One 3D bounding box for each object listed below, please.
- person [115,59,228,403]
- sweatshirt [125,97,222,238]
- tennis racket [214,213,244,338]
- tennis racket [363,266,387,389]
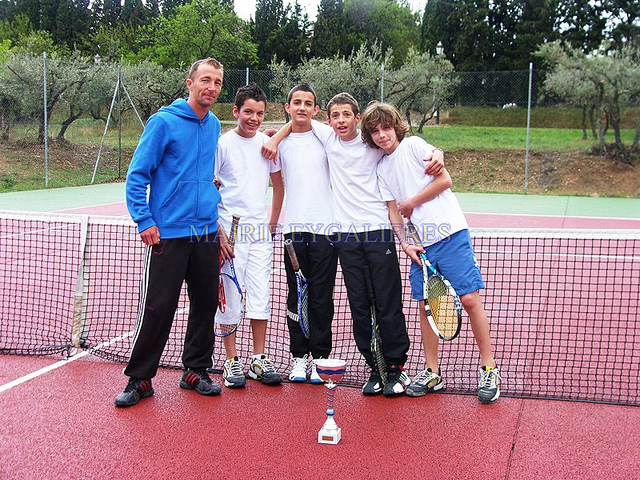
[{"bbox_3d":[-1.139,-0.088,4.574,0.933,2.596,0.562,-7,16,-25],"label":"person"},{"bbox_3d":[-1.143,-0.576,4.570,0.770,1.043,0.475,-5,15,-20],"label":"sweatshirt"},{"bbox_3d":[-0.786,0.310,4.974,0.334,0.945,0.065,23,-33,-39],"label":"tennis racket"},{"bbox_3d":[0.460,0.702,4.795,0.071,1.014,0.332,-5,-11,-16],"label":"tennis racket"}]
